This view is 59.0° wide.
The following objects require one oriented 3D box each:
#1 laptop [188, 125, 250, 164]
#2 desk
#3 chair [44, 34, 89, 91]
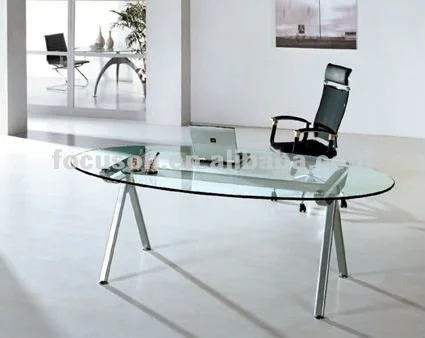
[{"bbox_3d":[0.039,-0.213,2.780,0.279,0.241,0.307,3,8,21],"label":"laptop"},{"bbox_3d":[0.134,0.348,2.758,2.110,0.814,1.191,7,13,24],"label":"desk"},{"bbox_3d":[-3.358,-2.474,8.698,0.772,1.186,0.839,8,16,29],"label":"chair"}]
